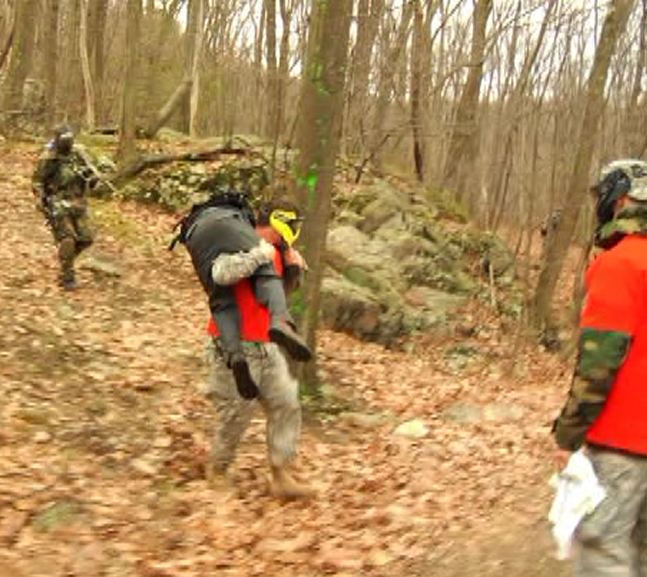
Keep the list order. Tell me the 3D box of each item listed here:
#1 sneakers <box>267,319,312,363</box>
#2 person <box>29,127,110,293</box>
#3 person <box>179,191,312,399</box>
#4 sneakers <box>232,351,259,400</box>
[{"bbox_3d":[-0.237,0.340,5.990,0.373,0.144,0.269,44,-6,-9],"label":"sneakers"},{"bbox_3d":[-2.652,-0.885,9.389,0.645,1.426,1.150,6,16,-9],"label":"person"},{"bbox_3d":[-0.570,-0.080,5.974,0.882,0.638,1.592,9,39,-21],"label":"person"},{"bbox_3d":[-0.497,0.563,5.707,0.112,0.335,0.147,-24,5,-11],"label":"sneakers"}]
